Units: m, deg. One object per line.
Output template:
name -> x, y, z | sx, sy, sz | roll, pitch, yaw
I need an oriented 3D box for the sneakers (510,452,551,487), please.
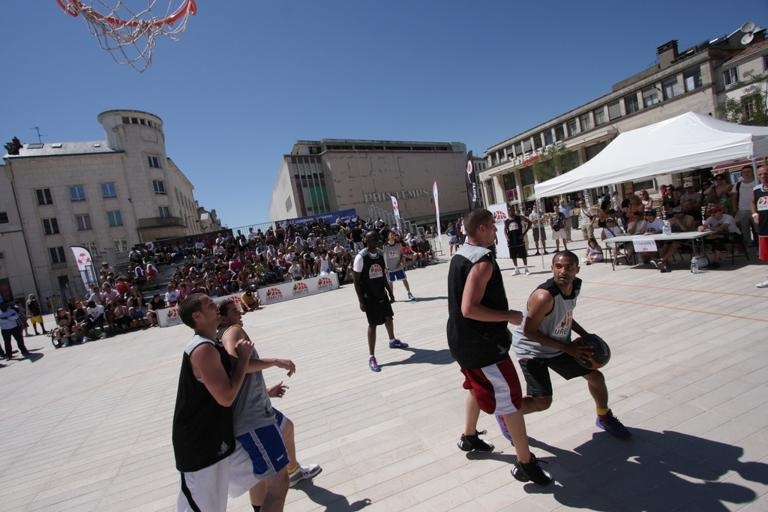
sneakers -> 1.561, 2.323, 4.465 | 0.448, 0.286, 0.224 | 2, 3, 6

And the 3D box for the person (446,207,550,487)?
person -> 1.134, 1.007, 4.468 | 0.893, 2.337, 0.576 | -8, 3, 21

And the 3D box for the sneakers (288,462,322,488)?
sneakers -> -0.952, 2.603, 4.960 | 0.487, 0.199, 0.182 | -7, 1, -29

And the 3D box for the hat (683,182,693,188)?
hat -> 8.410, -1.969, 11.387 | 0.260, 0.139, 0.365 | -1, 3, 21

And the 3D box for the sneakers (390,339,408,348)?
sneakers -> 0.250, 1.641, 7.623 | 0.364, 0.149, 0.141 | 0, 0, 1

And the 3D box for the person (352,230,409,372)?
person -> -0.153, 0.743, 7.254 | 0.634, 2.150, 1.025 | -8, 3, 16

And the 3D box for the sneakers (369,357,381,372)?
sneakers -> -0.185, 1.826, 6.971 | 0.192, 0.232, 0.341 | -9, 2, -5

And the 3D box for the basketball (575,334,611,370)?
basketball -> 2.314, 1.048, 4.559 | 0.238, 0.381, 0.400 | -42, -47, 9

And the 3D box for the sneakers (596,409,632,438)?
sneakers -> 2.629, 1.966, 4.882 | 0.194, 0.207, 0.459 | -13, 18, -36

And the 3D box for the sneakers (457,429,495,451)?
sneakers -> 1.057, 2.223, 4.916 | 0.484, 0.215, 0.182 | -1, 0, -3

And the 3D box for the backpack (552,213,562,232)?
backpack -> 5.796, -1.133, 13.770 | 0.327, 0.458, 0.305 | -8, 3, 20

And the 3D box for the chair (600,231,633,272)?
chair -> 6.357, -0.244, 10.838 | 1.043, 0.655, 0.530 | -22, 10, -39

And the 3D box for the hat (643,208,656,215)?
hat -> 6.870, -1.134, 10.663 | 0.213, 0.119, 0.333 | -11, 10, 11

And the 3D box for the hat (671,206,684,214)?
hat -> 7.825, -1.220, 10.966 | 0.322, 0.158, 0.418 | -5, 10, 10
